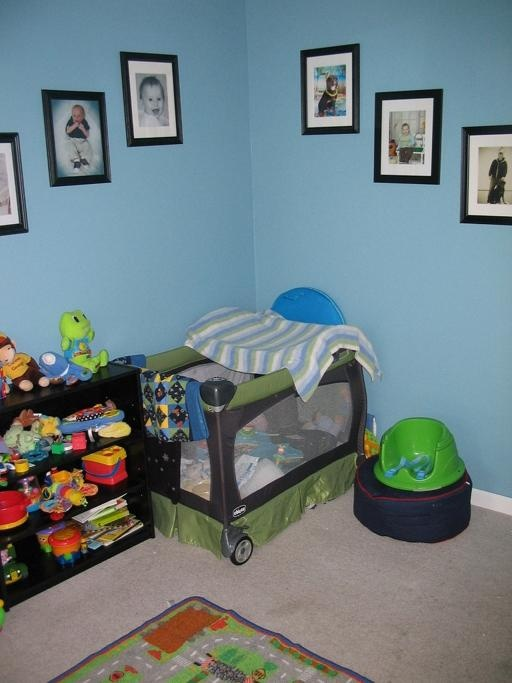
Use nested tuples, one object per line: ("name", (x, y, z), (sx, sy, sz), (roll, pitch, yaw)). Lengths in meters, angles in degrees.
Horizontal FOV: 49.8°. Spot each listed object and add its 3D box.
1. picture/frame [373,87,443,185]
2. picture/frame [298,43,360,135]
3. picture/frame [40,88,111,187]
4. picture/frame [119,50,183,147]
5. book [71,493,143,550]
("picture/frame", (0.670, -0.901, 2.397), (0.019, 0.450, 0.388), (-18, 25, -35))
("picture/frame", (0.358, -1.213, 2.629), (0.033, 0.442, 0.405), (-20, 26, -40))
("picture/frame", (-0.717, -0.803, 2.159), (0.025, 0.416, 0.372), (18, 26, 37))
("picture/frame", (-0.476, -1.077, 2.437), (0.032, 0.444, 0.411), (16, 27, 34))
("book", (-0.604, 0.758, 2.276), (0.208, 0.049, 0.211), (16, 23, 38))
